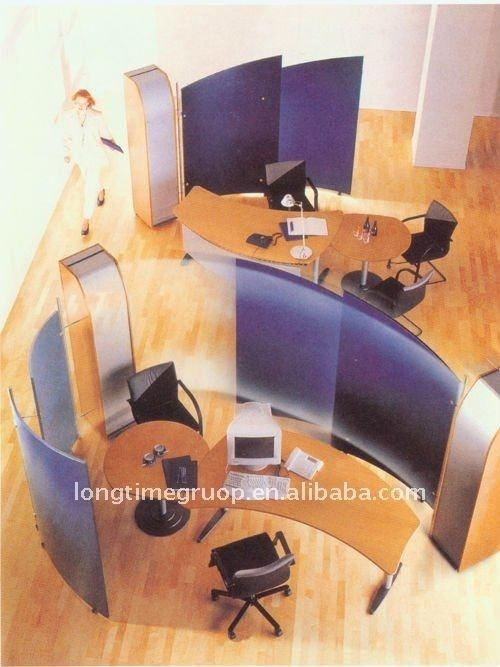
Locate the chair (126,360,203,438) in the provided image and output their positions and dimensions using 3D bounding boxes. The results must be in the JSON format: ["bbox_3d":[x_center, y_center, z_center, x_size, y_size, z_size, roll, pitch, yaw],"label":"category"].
[{"bbox_3d":[-0.632,0.549,3.910,0.381,0.568,0.418,-18,13,-18],"label":"chair"}]

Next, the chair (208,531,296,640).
[{"bbox_3d":[0.014,1.432,3.052,0.335,0.518,0.379,-14,72,-9],"label":"chair"}]

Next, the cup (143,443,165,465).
[{"bbox_3d":[-0.573,0.722,3.286,0.077,0.050,0.132,27,53,26],"label":"cup"}]

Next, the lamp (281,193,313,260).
[{"bbox_3d":[0.421,-0.936,4.914,0.265,0.662,0.400,3,66,7],"label":"lamp"}]

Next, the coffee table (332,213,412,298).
[{"bbox_3d":[1.134,-0.793,5.310,0.765,0.585,0.818,4,60,3],"label":"coffee table"}]

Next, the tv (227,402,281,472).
[{"bbox_3d":[0.024,0.570,3.236,0.378,0.536,0.335,1,57,2],"label":"tv"}]
